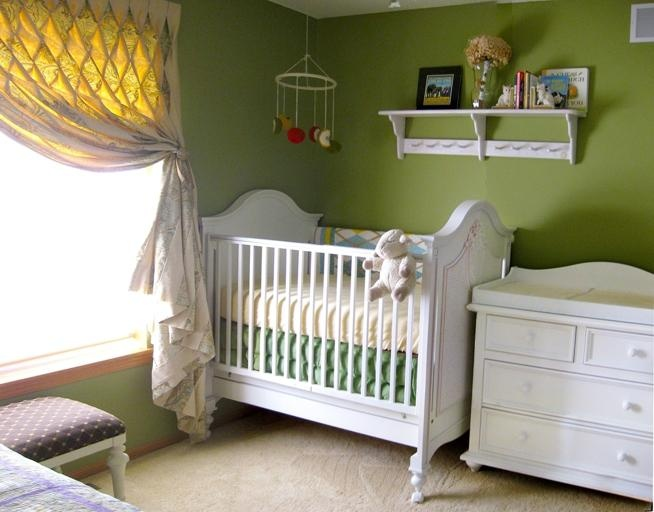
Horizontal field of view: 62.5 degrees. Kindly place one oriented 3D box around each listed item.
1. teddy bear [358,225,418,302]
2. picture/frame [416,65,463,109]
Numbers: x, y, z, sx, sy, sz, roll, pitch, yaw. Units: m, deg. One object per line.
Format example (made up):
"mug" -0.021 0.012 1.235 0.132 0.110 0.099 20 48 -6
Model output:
"teddy bear" 0.304 0.052 2.562 0.242 0.336 0.213 5 9 25
"picture/frame" 0.712 -1.049 3.360 0.260 0.299 0.019 1 -11 34
